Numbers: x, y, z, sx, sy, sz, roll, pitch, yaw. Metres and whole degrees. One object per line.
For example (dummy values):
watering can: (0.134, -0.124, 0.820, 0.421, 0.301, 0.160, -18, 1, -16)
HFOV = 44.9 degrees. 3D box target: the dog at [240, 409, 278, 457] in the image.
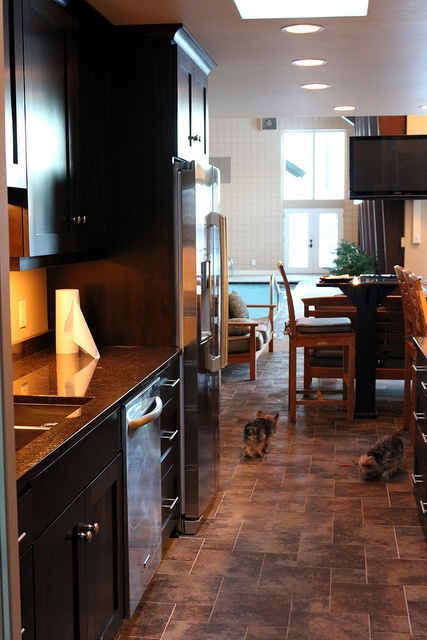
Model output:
dog: (0.351, 0.835, 3.777, 0.134, 0.307, 0.353, 2, -3, 36)

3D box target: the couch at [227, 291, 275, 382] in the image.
couch: (0.498, 0.130, 6.557, 0.501, 0.945, 1.722, 3, 7, 7)

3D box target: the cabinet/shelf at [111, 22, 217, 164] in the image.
cabinet/shelf: (-0.260, -1.109, 2.493, 0.187, 0.429, 0.662, -1, 13, 5)

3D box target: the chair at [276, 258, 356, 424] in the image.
chair: (0.912, 0.190, 4.641, 0.714, 1.355, 0.952, 4, 6, 7)

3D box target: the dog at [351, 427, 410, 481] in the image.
dog: (1.101, 0.876, 3.350, 0.356, 0.286, 0.191, 1, 7, -20)

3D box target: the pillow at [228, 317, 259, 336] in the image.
pillow: (0.298, 0.091, 5.891, 0.246, 0.194, 0.426, 3, 7, 3)
